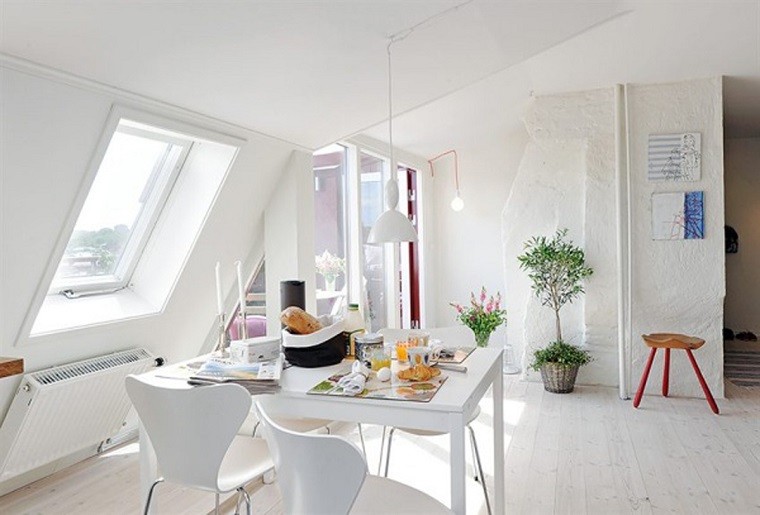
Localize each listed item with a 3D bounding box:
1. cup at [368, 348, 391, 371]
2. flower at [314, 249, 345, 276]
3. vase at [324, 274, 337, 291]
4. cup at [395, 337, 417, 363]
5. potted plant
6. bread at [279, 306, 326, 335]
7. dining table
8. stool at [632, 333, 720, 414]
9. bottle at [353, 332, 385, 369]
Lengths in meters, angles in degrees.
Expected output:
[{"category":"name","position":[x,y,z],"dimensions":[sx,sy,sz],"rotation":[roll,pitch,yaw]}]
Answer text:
[{"category":"cup","position":[-0.003,0.551,2.597],"dimensions":[0.107,0.117,0.119],"rotation":[0,-8,-3]},{"category":"flower","position":[-0.499,0.049,4.815],"dimensions":[0.230,0.194,0.228],"rotation":[-3,-1,19]},{"category":"vase","position":[-0.492,0.239,4.792],"dimensions":[0.148,0.172,0.148],"rotation":[0,0,18]},{"category":"cup","position":[0.144,0.536,2.827],"dimensions":[0.110,0.091,0.125],"rotation":[1,-4,9]},{"category":"potted plant","position":[1.845,0.515,5.068],"dimensions":[0.592,1.635,0.789],"rotation":[-4,12,-20]},{"category":"bread","position":[-0.447,0.371,2.777],"dimensions":[0.229,0.128,0.081],"rotation":[27,-42,-34]},{"category":"dining table","position":[-0.306,0.900,2.546],"dimensions":[1.181,0.603,0.782],"rotation":[-1,2,21]},{"category":"stool","position":[2.629,1.067,4.595],"dimensions":[0.652,0.823,0.772],"rotation":[-3,-5,3]},{"category":"bottle","position":[-0.054,0.517,2.709],"dimensions":[0.174,0.185,0.170],"rotation":[1,0,31]}]
